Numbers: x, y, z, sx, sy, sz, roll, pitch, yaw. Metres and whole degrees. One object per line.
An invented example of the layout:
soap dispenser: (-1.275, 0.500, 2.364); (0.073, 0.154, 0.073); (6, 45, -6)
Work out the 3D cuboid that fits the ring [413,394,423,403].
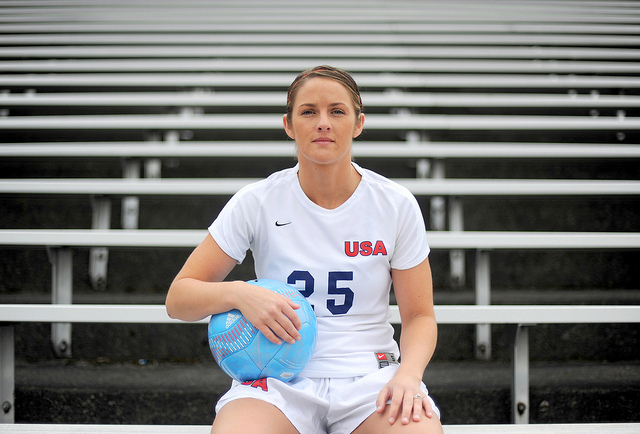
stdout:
ring: (0.600, 1.104, 6.106); (0.056, 0.036, 0.026); (-4, 9, -17)
